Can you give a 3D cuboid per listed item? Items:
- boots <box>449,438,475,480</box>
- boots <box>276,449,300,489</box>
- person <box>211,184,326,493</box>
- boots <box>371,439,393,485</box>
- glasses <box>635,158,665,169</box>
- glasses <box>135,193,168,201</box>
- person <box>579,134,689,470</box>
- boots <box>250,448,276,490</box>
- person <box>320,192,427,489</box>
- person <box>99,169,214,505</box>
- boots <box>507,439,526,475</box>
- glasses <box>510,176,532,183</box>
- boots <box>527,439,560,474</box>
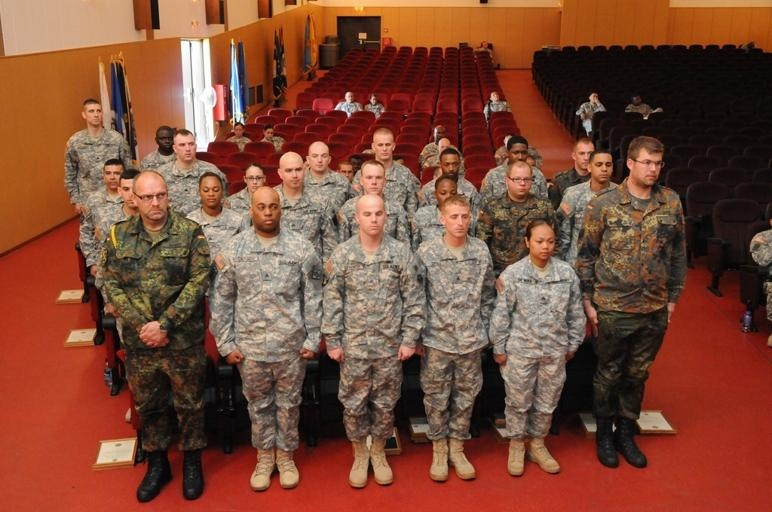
[{"bbox_3d":[0.608,1.645,5.025,0.139,0.232,0.390,-3,2,-14],"label":"boots"},{"bbox_3d":[-0.808,1.679,4.995,0.163,0.148,0.417,2,17,-24],"label":"boots"},{"bbox_3d":[-0.906,0.652,4.808,0.899,2.296,0.674,-6,20,-7],"label":"person"},{"bbox_3d":[-0.070,1.637,5.021,0.146,0.156,0.407,-5,25,-12],"label":"boots"},{"bbox_3d":[2.084,-0.728,4.795,0.239,0.070,0.104,-8,20,-17],"label":"glasses"},{"bbox_3d":[-1.767,-0.445,4.611,0.211,0.057,0.090,-9,20,-17],"label":"glasses"},{"bbox_3d":[1.983,0.387,4.994,0.838,2.608,0.748,2,21,12],"label":"person"},{"bbox_3d":[-0.978,1.684,4.951,0.138,0.140,0.368,0,22,0],"label":"boots"},{"bbox_3d":[-0.071,0.782,4.930,0.783,1.968,0.548,-11,22,-22],"label":"person"},{"bbox_3d":[-1.702,0.616,4.737,0.811,2.453,0.773,-9,21,-16],"label":"person"},{"bbox_3d":[1.071,1.638,5.053,0.119,0.191,0.324,0,7,4],"label":"boots"},{"bbox_3d":[1.206,-0.683,5.508,0.174,0.053,0.055,0,20,7],"label":"glasses"},{"bbox_3d":[1.315,1.622,5.125,0.122,0.224,0.356,0,9,-27],"label":"boots"}]
